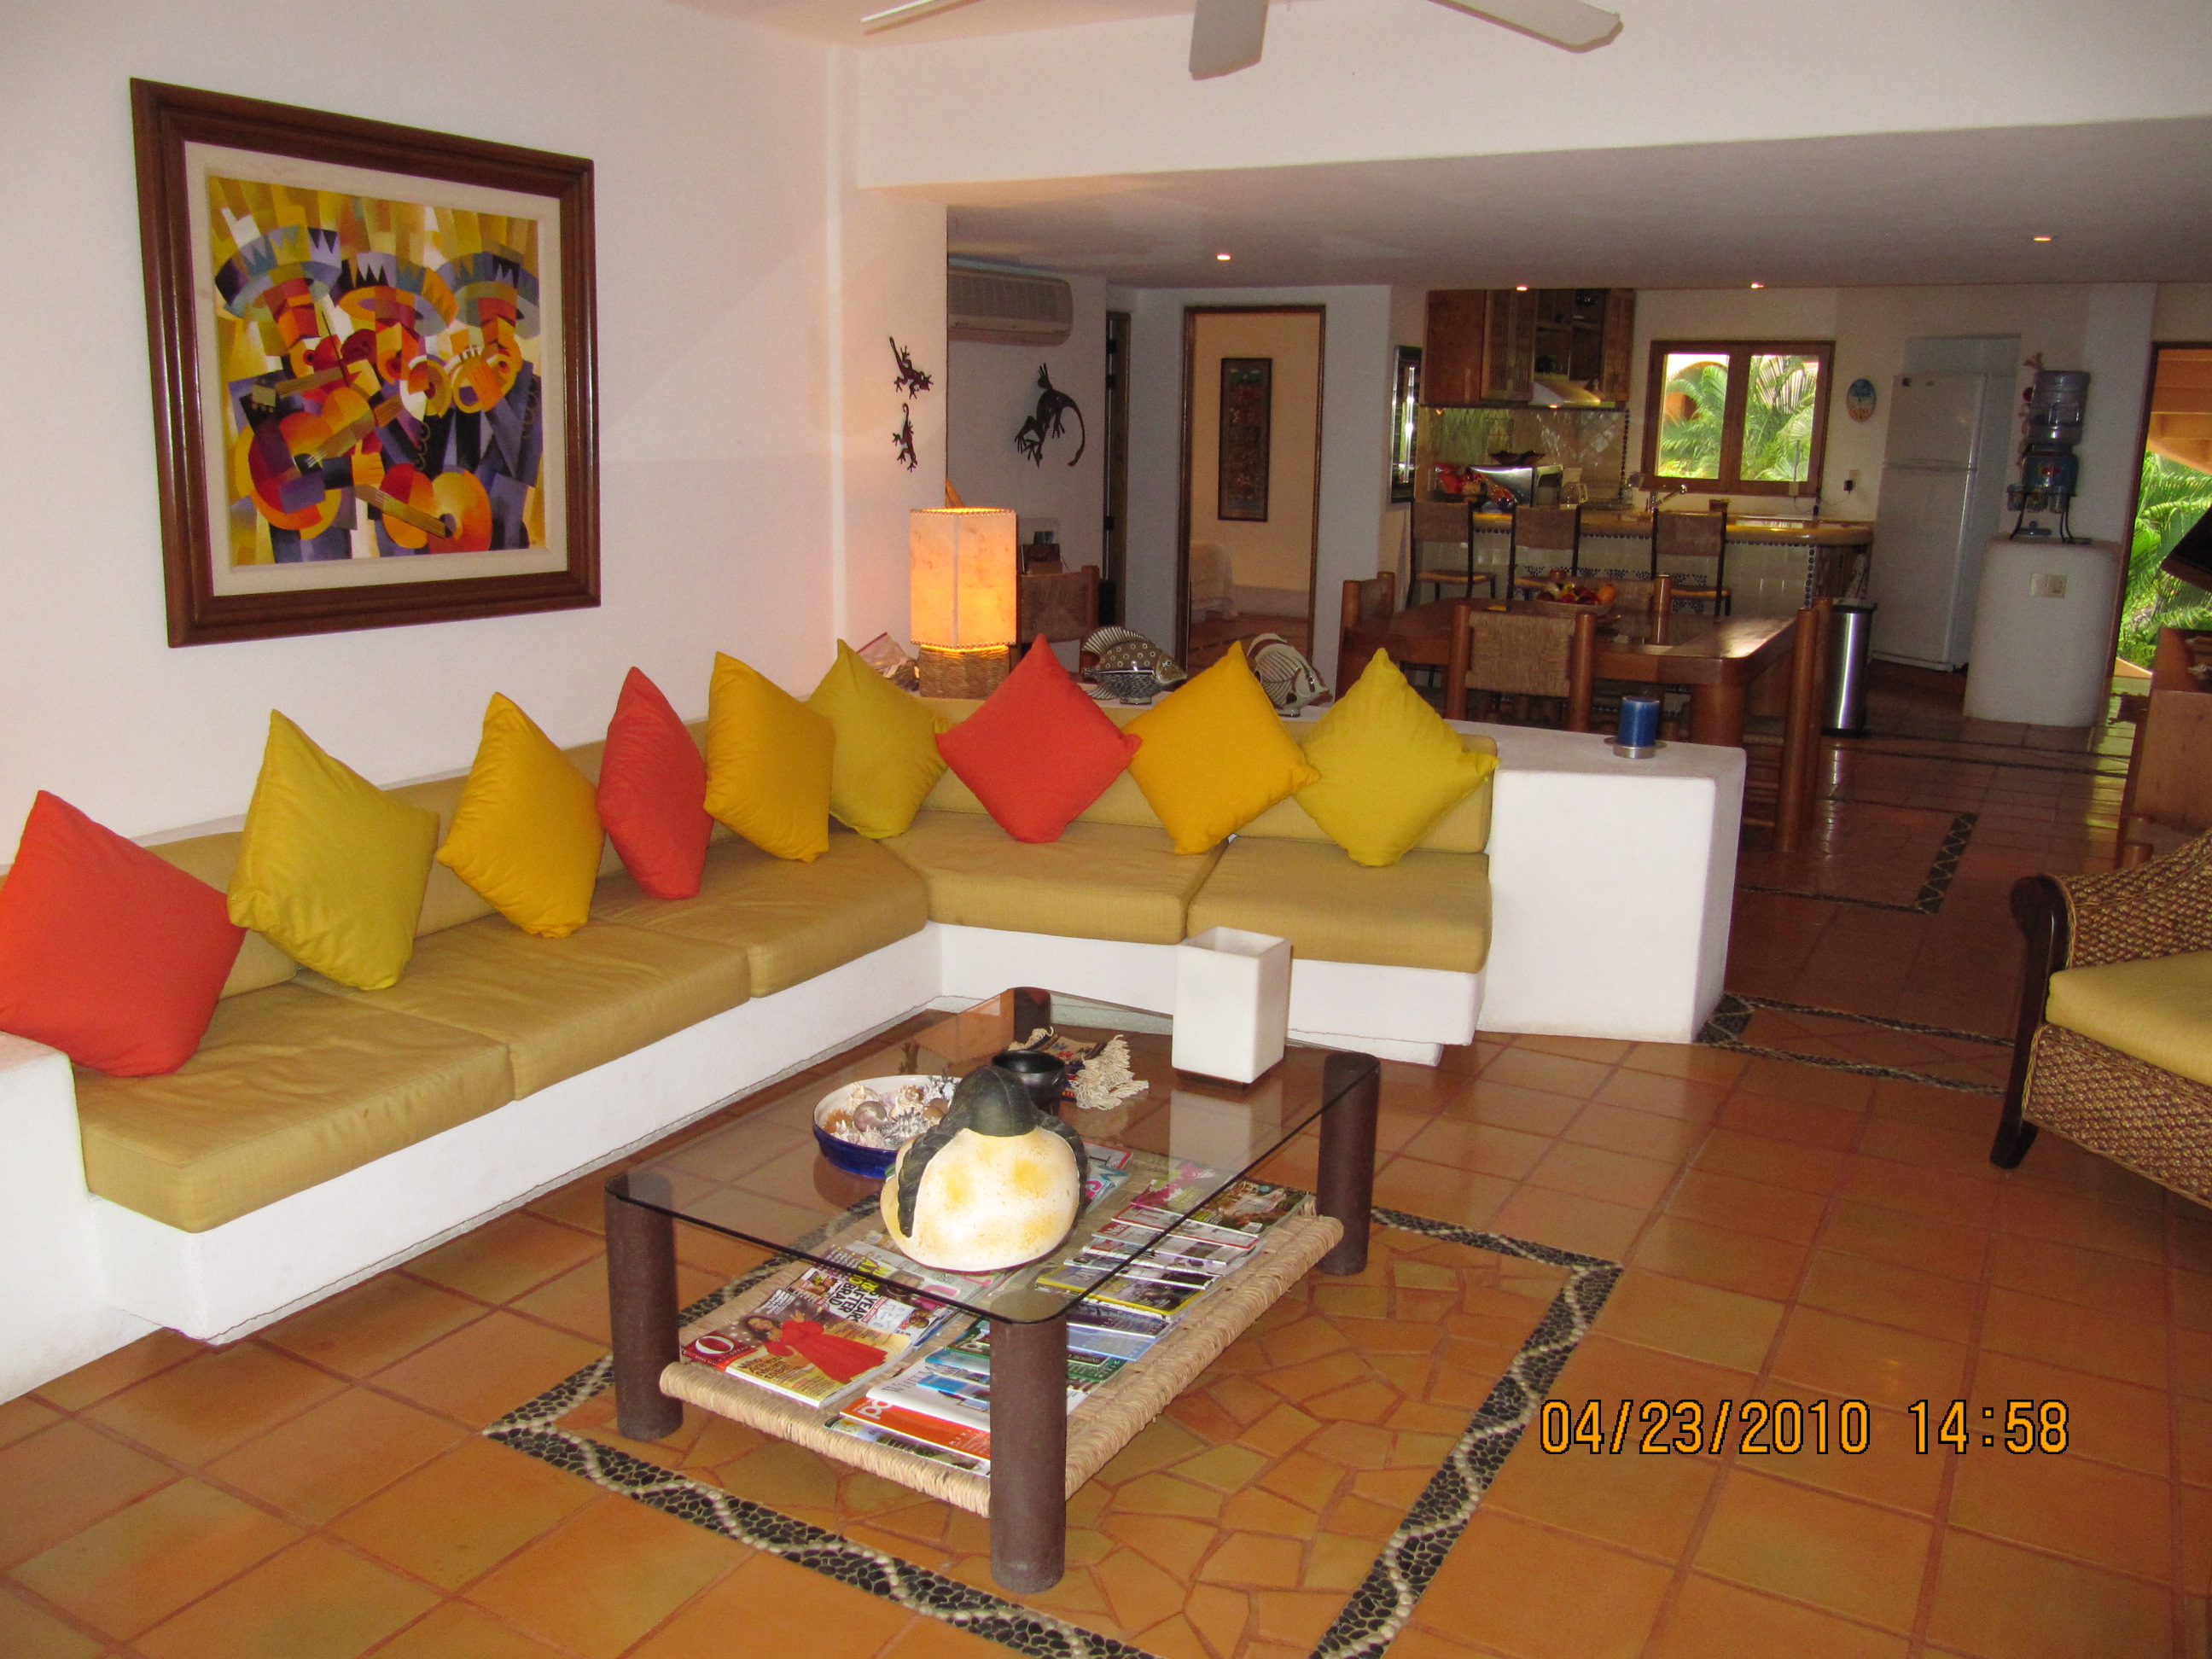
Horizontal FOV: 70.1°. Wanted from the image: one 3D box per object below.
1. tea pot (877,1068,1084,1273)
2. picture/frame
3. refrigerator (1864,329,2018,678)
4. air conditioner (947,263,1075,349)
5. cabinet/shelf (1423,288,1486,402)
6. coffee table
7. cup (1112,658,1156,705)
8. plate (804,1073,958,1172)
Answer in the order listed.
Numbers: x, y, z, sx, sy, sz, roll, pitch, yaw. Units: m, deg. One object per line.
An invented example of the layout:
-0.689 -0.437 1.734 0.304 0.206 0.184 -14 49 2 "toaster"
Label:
-0.185 0.619 2.933 0.356 0.294 0.361 -1 20 0 "tea pot"
-2.129 -1.316 4.573 0.050 1.426 1.390 9 19 33 "picture/frame"
5.870 -2.276 11.063 0.506 2.295 0.817 -8 17 -21 "refrigerator"
-0.568 -2.964 8.915 0.277 0.435 1.223 5 17 21 "air conditioner"
2.513 -3.499 11.458 0.617 0.791 0.249 -11 19 -30 "cabinet/shelf"
-0.317 0.911 3.112 0.928 0.442 1.260 8 18 29 "coffee table"
0.092 -0.545 5.850 0.179 0.095 0.176 0 10 0 "cup"
-0.483 0.596 3.232 0.204 0.082 0.199 5 14 11 "plate"
